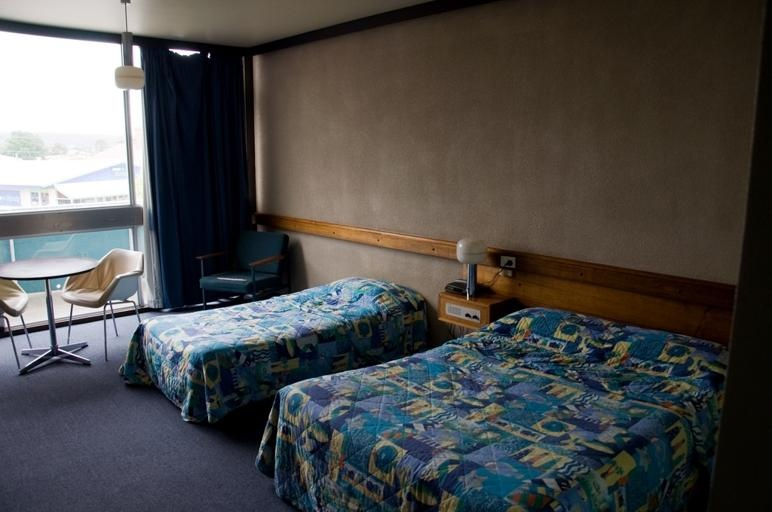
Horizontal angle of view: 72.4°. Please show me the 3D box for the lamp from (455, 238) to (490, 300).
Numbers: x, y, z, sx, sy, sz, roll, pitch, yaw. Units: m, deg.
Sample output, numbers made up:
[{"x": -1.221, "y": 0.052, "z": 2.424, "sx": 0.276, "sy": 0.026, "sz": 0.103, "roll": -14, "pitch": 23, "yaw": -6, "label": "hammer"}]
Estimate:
[{"x": 0.715, "y": 0.084, "z": 4.357, "sx": 0.226, "sy": 0.477, "sz": 0.311, "roll": -1, "pitch": 12, "yaw": 11, "label": "lamp"}]

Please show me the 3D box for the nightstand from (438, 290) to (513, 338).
[{"x": 0.717, "y": 0.447, "z": 4.407, "sx": 0.361, "sy": 0.238, "sz": 0.506, "roll": -10, "pitch": 14, "yaw": -40, "label": "nightstand"}]

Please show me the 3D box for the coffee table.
[{"x": -3.029, "y": 0.515, "z": 4.834, "sx": 0.837, "sy": 0.936, "sz": 0.771, "roll": 7, "pitch": 16, "yaw": 40, "label": "coffee table"}]

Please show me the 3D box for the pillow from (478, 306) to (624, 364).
[{"x": 1.216, "y": 0.541, "z": 3.702, "sx": 0.513, "sy": 0.118, "sz": 0.438, "roll": 13, "pitch": 19, "yaw": 38, "label": "pillow"}]

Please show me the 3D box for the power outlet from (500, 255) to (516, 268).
[{"x": 0.983, "y": 0.050, "z": 4.268, "sx": 0.084, "sy": 0.109, "sz": 0.156, "roll": -5, "pitch": 8, "yaw": -40, "label": "power outlet"}]

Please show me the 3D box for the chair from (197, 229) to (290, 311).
[{"x": -1.585, "y": 0.188, "z": 5.957, "sx": 0.736, "sy": 0.899, "sz": 0.885, "roll": 4, "pitch": 10, "yaw": 9, "label": "chair"}]

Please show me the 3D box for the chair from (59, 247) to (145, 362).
[{"x": -2.720, "y": 0.423, "z": 5.137, "sx": 0.681, "sy": 0.878, "sz": 0.613, "roll": 6, "pitch": 10, "yaw": 26, "label": "chair"}]

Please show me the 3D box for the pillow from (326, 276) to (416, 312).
[{"x": -0.225, "y": 0.367, "z": 4.954, "sx": 0.949, "sy": 0.247, "sz": 0.619, "roll": -4, "pitch": 15, "yaw": -17, "label": "pillow"}]

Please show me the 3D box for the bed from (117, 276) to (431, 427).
[{"x": -0.903, "y": 0.695, "z": 4.783, "sx": 2.487, "sy": 0.640, "sz": 1.593, "roll": -6, "pitch": 9, "yaw": -36, "label": "bed"}]
